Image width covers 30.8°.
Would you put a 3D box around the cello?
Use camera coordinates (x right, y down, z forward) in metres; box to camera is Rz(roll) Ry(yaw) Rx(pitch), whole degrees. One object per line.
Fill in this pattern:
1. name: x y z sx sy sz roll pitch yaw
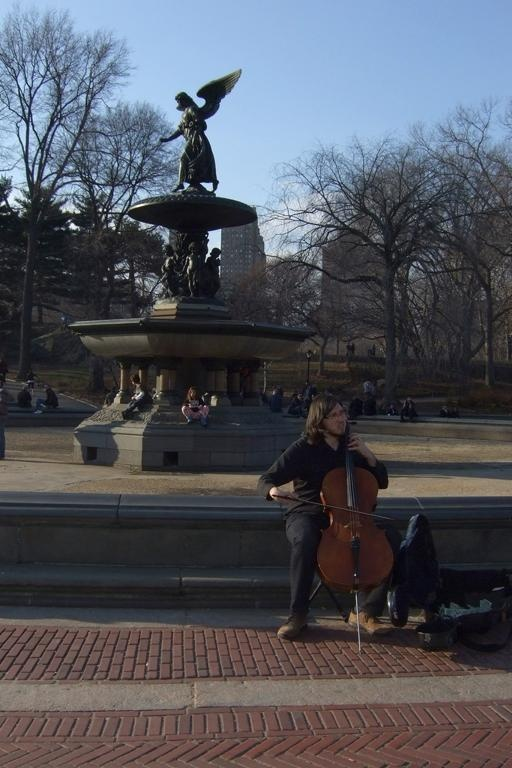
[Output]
1. cello: 0.578 0.828 5.387 0.427 0.637 0.504 2 8 5

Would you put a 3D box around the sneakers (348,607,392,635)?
1. sneakers: 0.669 1.423 5.614 0.110 0.112 0.292 -2 0 -45

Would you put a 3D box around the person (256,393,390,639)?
1. person: 0.396 0.812 5.700 0.975 1.419 0.632 1 -4 -21
